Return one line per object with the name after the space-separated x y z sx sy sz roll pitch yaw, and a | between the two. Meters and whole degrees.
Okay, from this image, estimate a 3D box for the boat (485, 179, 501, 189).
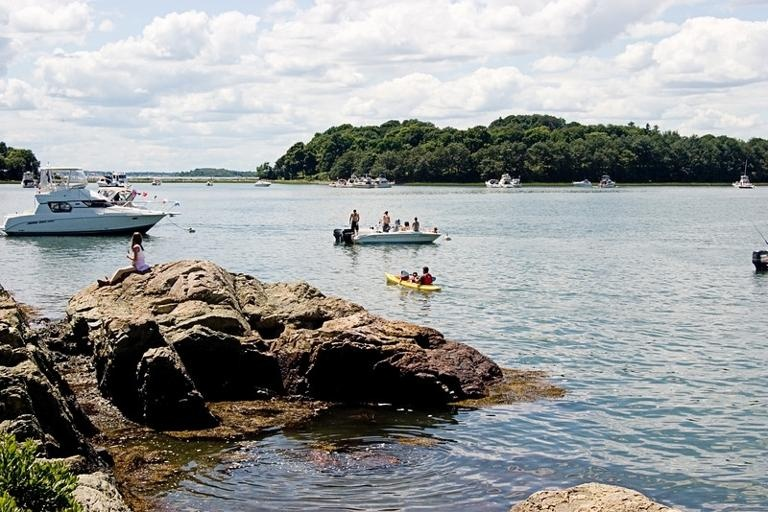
20.097 -13.433 182.718 2.102 1.310 3.370 0 1 -1 | boat

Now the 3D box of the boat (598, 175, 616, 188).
41.349 -13.892 186.783 2.054 2.425 6.315 -2 2 13 | boat

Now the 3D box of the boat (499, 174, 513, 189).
21.816 -13.573 181.141 1.637 1.902 4.909 -1 3 -4 | boat

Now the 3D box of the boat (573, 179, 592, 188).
37.584 -13.695 186.878 1.821 1.388 3.767 8 10 42 | boat

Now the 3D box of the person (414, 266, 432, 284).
1.966 0.926 47.367 0.800 0.763 0.857 1 5 -24 | person
